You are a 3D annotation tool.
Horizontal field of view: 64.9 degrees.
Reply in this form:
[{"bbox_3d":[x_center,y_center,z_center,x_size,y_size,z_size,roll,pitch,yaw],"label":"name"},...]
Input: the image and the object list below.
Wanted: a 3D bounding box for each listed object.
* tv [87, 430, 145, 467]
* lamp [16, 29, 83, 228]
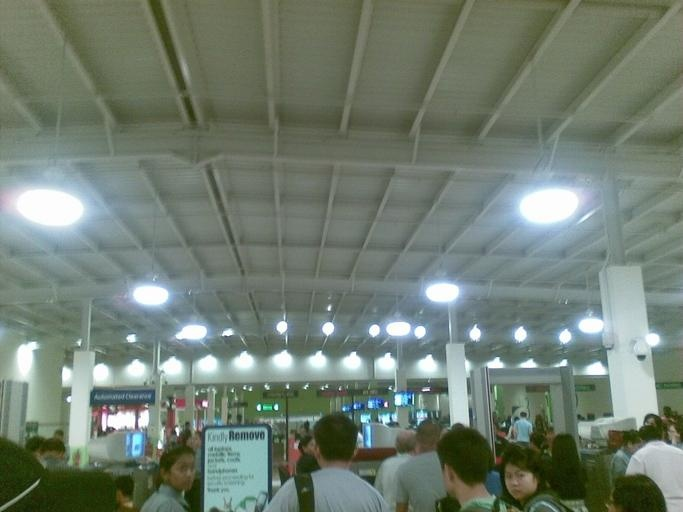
[{"bbox_3d":[-4.352,3.680,10.384,0.803,0.533,0.933,12,-29,-36],"label":"tv"},{"bbox_3d":[-4.029,-1.241,7.507,0.742,2.276,2.982,5,-21,-29],"label":"lamp"}]
